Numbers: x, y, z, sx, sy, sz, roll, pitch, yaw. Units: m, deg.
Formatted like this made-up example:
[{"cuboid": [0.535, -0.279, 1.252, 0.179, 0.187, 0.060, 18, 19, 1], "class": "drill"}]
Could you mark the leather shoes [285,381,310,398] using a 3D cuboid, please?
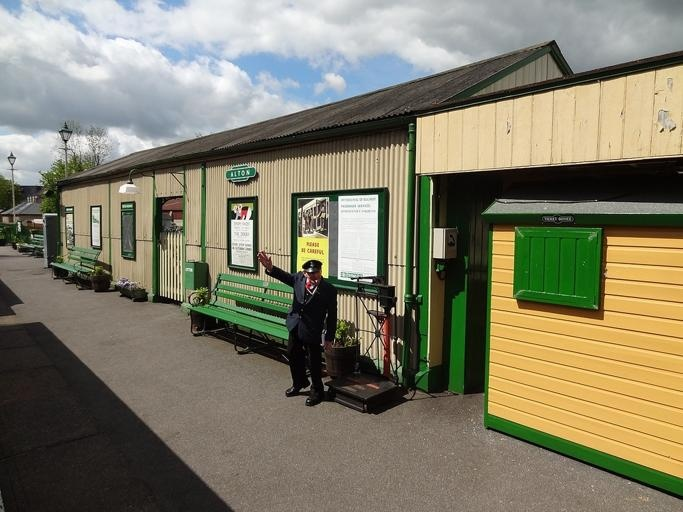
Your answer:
[{"cuboid": [-0.615, 1.981, 7.505, 0.148, 0.214, 0.407, 0, -4, 42], "class": "leather shoes"}]

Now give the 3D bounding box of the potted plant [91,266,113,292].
[{"cuboid": [-7.363, 0.731, 15.545, 0.506, 0.750, 0.424, -5, 11, -30], "class": "potted plant"}]

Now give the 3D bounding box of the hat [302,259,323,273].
[{"cuboid": [-0.418, 0.141, 7.237, 0.228, 0.171, 0.311, -2, 11, -14], "class": "hat"}]

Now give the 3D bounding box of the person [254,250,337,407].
[{"cuboid": [-0.531, 1.058, 7.354, 0.937, 2.021, 0.595, 6, 11, 30], "class": "person"}]

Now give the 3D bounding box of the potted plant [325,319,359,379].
[{"cuboid": [-0.018, 1.516, 8.429, 0.689, 1.105, 0.756, 3, -4, -10], "class": "potted plant"}]
